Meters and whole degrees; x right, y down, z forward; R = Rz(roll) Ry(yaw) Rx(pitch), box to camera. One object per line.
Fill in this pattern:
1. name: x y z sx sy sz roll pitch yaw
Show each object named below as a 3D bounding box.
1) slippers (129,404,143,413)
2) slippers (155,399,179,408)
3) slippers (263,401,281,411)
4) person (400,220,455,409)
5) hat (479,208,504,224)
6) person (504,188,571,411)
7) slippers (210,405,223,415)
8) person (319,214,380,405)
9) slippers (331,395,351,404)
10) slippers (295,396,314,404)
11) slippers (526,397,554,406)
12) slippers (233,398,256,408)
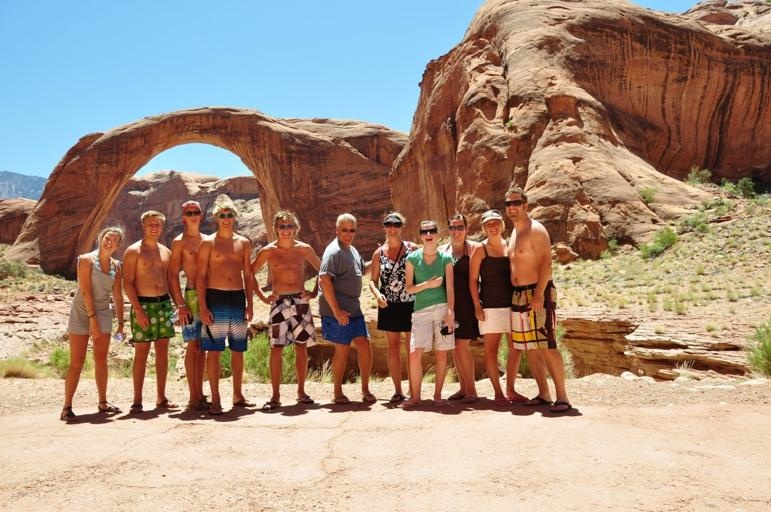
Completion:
1. slippers: -3.366 2.075 8.588 0.160 0.114 0.150 -6 15 -15
2. slippers: -3.038 2.048 8.847 0.247 0.098 0.128 0 2 0
3. slippers: -1.584 2.083 8.798 0.101 0.081 0.218 -3 -9 31
4. person: 0.613 0.878 8.845 0.692 2.598 0.965 -1 15 5
5. hat: 1.478 -0.607 8.931 0.335 0.160 0.500 -4 -5 9
6. person: 2.029 0.591 8.485 0.678 2.902 1.301 -5 15 -13
7. slippers: -2.270 2.082 8.533 0.176 0.123 0.166 -6 15 -16
8. person: -0.592 0.775 9.067 0.663 2.597 0.868 -4 15 -6
9. slippers: -0.625 2.049 9.026 0.223 0.100 0.169 -4 15 -7
10. slippers: -1.150 2.056 9.102 0.108 0.071 0.203 -2 1 -43
11. slippers: 2.066 1.976 8.538 0.333 0.086 0.127 2 -5 3
12. slippers: -1.992 2.083 8.968 0.251 0.079 0.125 3 -3 -17
